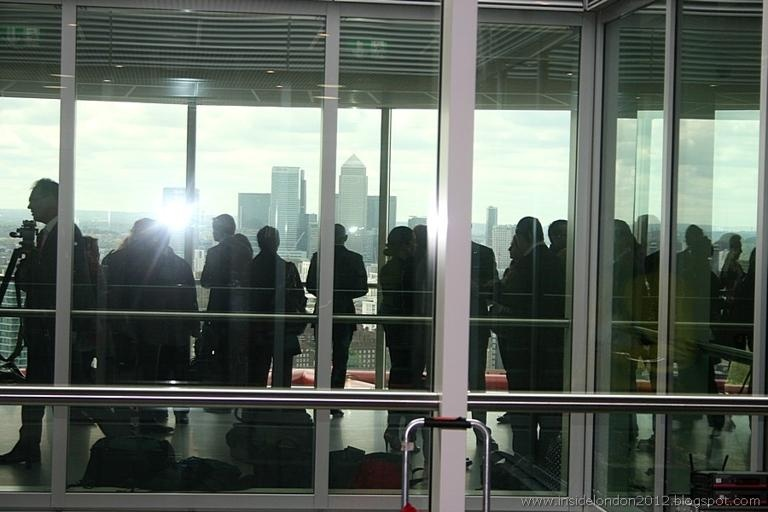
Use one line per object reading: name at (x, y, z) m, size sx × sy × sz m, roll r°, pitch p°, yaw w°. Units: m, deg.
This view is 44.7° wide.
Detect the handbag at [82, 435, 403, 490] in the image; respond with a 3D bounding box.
handbag at (-1.073, 1.483, 6.753) m, size 1.520 × 0.207 × 0.312 m, roll 1°, pitch 14°, yaw -3°
